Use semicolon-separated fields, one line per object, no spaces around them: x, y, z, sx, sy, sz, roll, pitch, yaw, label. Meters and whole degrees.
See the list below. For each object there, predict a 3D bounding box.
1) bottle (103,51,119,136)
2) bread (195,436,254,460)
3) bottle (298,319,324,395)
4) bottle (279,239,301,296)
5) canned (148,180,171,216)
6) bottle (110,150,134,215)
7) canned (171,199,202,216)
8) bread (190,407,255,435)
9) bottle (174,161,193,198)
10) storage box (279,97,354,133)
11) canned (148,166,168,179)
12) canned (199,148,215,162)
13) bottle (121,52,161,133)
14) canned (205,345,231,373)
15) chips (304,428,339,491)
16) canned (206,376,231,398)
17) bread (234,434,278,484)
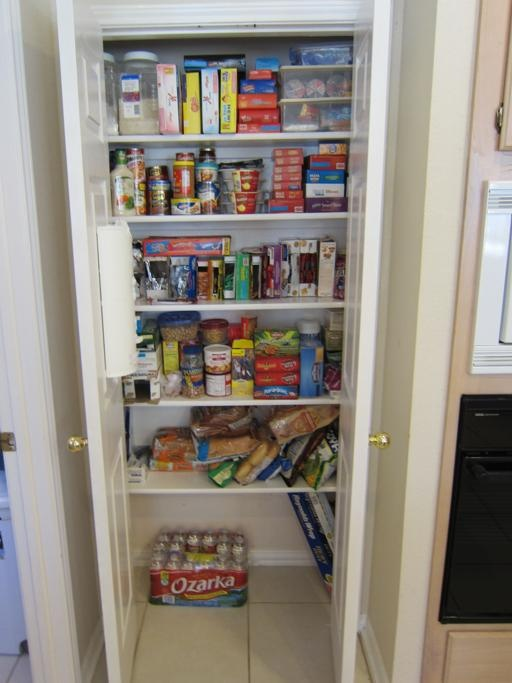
-0.467;-0.783;1.808;0.034;0.236;0.158;-3;12;-13;bottle
-0.122;0.404;2.125;0.147;0.046;0.109;-2;36;1;bread
0.191;0.062;2.031;0.073;0.265;0.093;1;16;-2;bottle
0.118;-0.269;2.000;0.074;0.218;0.123;-1;25;-1;bottle
-0.328;-0.485;1.905;0.075;0.118;0.076;-2;12;-9;canned
-0.384;-0.453;1.606;0.065;0.184;0.150;-3;12;-14;bottle
-0.237;-0.452;1.892;0.100;0.058;0.060;-2;12;-8;canned
-0.141;0.314;2.311;0.266;0.100;0.238;-2;12;-9;bread
-0.242;-0.543;1.891;0.078;0.119;0.058;-4;12;-15;bottle
0.193;-0.727;1.829;0.226;0.088;0.039;1;12;6;storage box
-0.330;-0.573;1.873;0.054;0.036;0.055;-15;32;-28;canned
-0.171;-0.642;1.936;0.049;0.048;0.049;-14;35;-27;canned
-0.374;-0.791;1.856;0.126;0.280;0.131;0;20;0;bottle
-0.141;0.060;2.041;0.091;0.086;0.090;6;-24;-8;canned
0.242;0.439;2.067;0.052;0.180;0.157;25;14;-23;chips
-0.135;0.159;2.074;0.080;0.090;0.083;8;39;6;canned
0.007;0.453;2.110;0.063;0.190;0.118;41;5;-12;bread
